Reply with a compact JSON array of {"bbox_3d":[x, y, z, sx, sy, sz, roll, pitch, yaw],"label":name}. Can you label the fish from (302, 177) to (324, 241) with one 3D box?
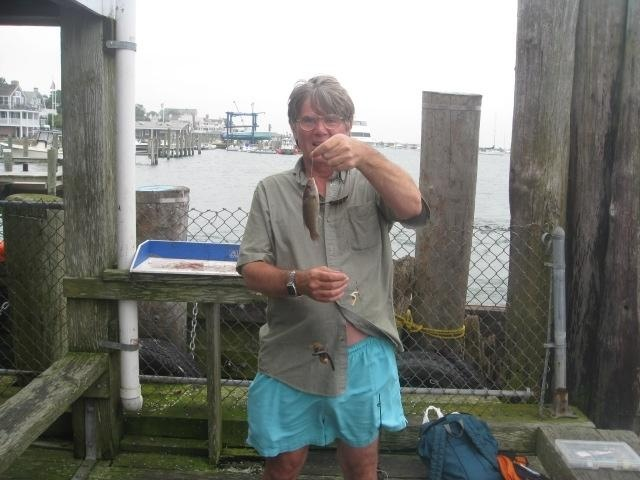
[{"bbox_3d":[-0.052,-0.182,3.853,0.087,0.360,0.169,0,7,-6],"label":"fish"}]
